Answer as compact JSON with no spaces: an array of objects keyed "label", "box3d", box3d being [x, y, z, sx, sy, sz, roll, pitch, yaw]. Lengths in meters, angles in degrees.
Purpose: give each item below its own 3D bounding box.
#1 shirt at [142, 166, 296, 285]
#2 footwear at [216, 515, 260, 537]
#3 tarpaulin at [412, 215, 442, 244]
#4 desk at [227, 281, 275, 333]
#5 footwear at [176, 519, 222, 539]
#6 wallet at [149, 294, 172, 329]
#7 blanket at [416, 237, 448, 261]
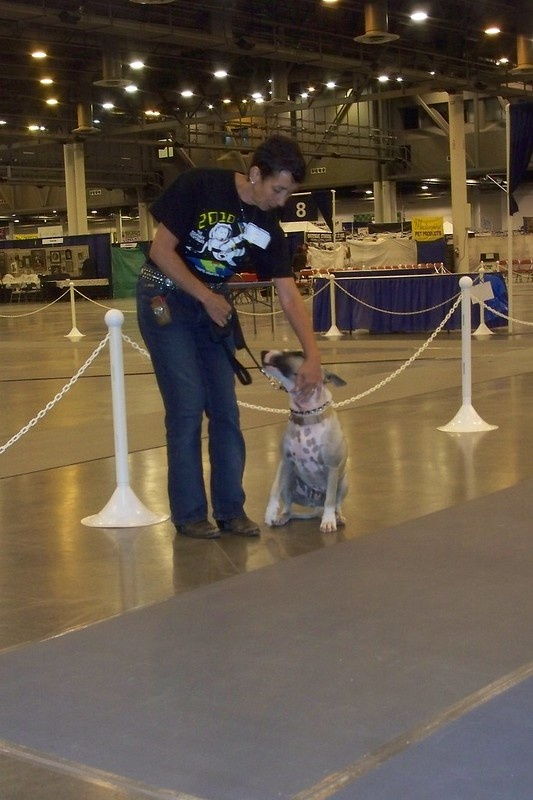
[{"label":"shirt","box3d":[-0.214,-0.747,3.118,0.579,0.521,0.207,-8,2,-26]},{"label":"footwear","box3d":[-0.143,0.643,3.417,0.232,0.090,0.088,-3,-4,40]},{"label":"tarpaulin","box3d":[5.302,-5.669,22.084,1.094,0.781,0.763,-4,9,-6]},{"label":"desk","box3d":[-0.434,-3.065,19.253,1.362,1.448,1.720,4,18,0]},{"label":"footwear","box3d":[-0.338,0.648,3.386,0.212,0.086,0.087,-3,-2,39]},{"label":"wallet","box3d":[-0.493,-0.418,3.129,0.094,0.143,0.048,-4,9,-6]},{"label":"blanket","box3d":[5.707,-5.217,23.055,0.927,0.911,0.128,9,29,22]}]
